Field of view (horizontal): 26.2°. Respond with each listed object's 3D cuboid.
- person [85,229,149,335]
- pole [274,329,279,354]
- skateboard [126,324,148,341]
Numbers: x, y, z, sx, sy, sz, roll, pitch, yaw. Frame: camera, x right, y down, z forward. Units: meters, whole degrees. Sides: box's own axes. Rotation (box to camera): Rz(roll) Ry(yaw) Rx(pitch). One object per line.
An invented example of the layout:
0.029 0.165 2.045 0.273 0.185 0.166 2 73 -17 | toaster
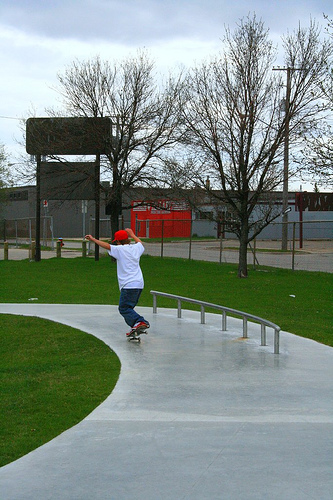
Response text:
-0.573 0.428 9.773 0.646 1.457 1.862 1 3 -3 | person
1.321 1.086 8.508 0.045 0.300 0.229 2 3 11 | pole
-0.335 1.073 9.222 0.325 0.214 0.130 -21 -38 31 | skateboard
